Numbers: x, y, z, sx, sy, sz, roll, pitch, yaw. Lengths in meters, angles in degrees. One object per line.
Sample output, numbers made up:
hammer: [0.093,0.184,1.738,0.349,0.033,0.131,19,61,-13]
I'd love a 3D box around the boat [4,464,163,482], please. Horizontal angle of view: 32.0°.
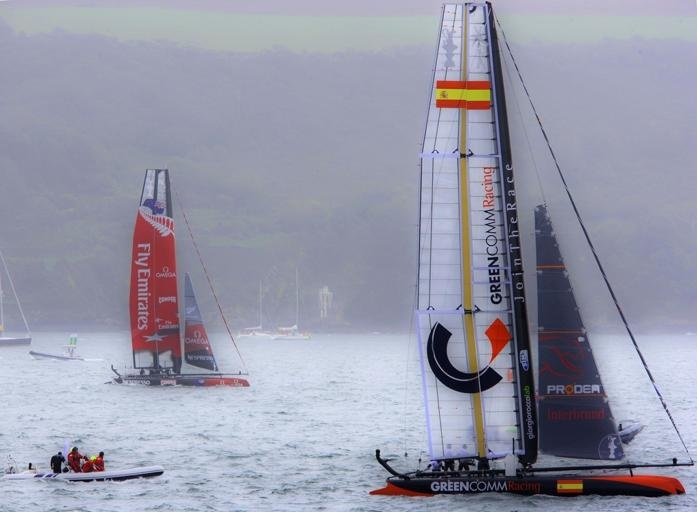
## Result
boat: [-7.562,6.300,34.516,4.357,0.453,1.205,-1,-8,-4]

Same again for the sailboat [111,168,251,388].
sailboat: [-6.654,1.062,44.061,3.453,8.550,3.181,-4,10,-8]

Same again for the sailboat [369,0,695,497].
sailboat: [3.315,-0.088,31.590,4.882,12.822,2.486,-2,10,8]
